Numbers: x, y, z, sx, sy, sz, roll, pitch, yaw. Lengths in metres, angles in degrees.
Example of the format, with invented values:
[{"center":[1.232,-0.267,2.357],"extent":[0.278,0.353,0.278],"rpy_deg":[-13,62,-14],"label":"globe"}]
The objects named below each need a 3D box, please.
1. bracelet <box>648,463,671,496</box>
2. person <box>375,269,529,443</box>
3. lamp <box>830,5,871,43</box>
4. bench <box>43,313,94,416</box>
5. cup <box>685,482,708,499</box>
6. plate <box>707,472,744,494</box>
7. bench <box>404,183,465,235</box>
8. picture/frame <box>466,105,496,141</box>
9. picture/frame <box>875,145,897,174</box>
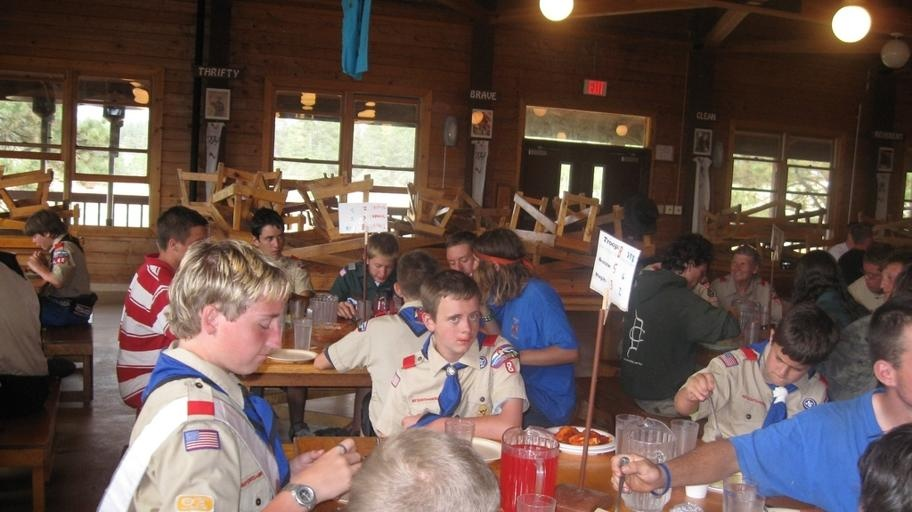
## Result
[{"center":[1.356,1.457,4.648],"extent":[0.058,0.173,0.192],"rpy_deg":[3,-6,-14],"label":"bracelet"},{"center":[-0.019,0.727,5.243],"extent":[1.106,1.234,0.427],"rpy_deg":[1,5,-7],"label":"person"},{"center":[4.931,-2.937,8.925],"extent":[0.402,0.442,0.265],"rpy_deg":[3,5,17],"label":"lamp"},{"center":[-3.993,1.099,7.317],"extent":[0.348,0.493,1.101],"rpy_deg":[1,0,-21],"label":"bench"},{"center":[1.635,1.577,4.833],"extent":[0.117,0.074,0.107],"rpy_deg":[0,2,4],"label":"cup"},{"center":[1.821,1.534,4.785],"extent":[0.186,0.117,0.171],"rpy_deg":[-3,3,3],"label":"plate"},{"center":[-0.318,-0.655,10.090],"extent":[0.776,0.688,1.602],"rpy_deg":[1,3,-1],"label":"bench"},{"center":[0.377,-2.183,11.592],"extent":[0.705,0.661,0.098],"rpy_deg":[2,-1,-22],"label":"picture/frame"},{"center":[8.007,-1.813,13.238],"extent":[0.386,0.434,0.140],"rpy_deg":[5,3,7],"label":"picture/frame"}]
